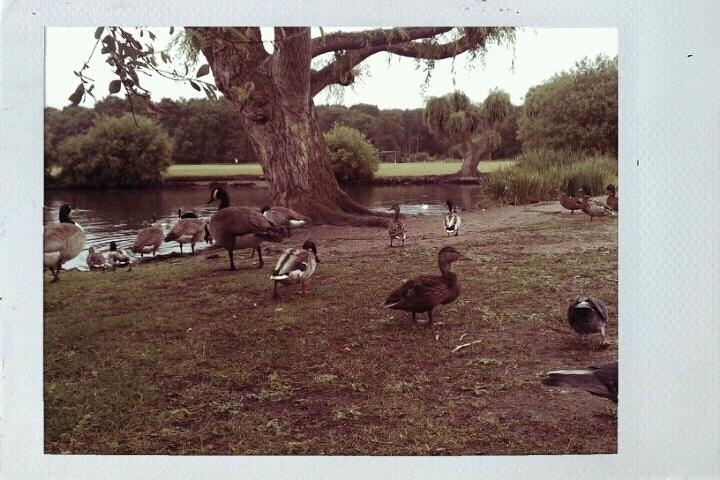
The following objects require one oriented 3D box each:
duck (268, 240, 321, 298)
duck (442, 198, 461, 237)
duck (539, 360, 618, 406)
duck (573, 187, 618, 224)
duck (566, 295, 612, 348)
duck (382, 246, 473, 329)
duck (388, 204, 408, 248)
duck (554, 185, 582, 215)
[{"bbox_3d":[-1.114,0.433,12.434,0.639,0.923,1.467,1,4,27],"label":"duck"},{"bbox_3d":[1.825,-0.443,14.425,0.371,0.664,0.920,-4,4,7],"label":"duck"},{"bbox_3d":[3.434,2.237,11.240,1.100,0.609,0.211,-5,5,-2],"label":"duck"},{"bbox_3d":[4.769,-0.712,14.631,0.742,0.601,0.376,3,15,8],"label":"duck"},{"bbox_3d":[3.660,1.341,11.559,0.404,1.025,0.627,-3,48,27],"label":"duck"},{"bbox_3d":[1.056,0.762,11.649,1.381,1.267,0.673,-3,7,3],"label":"duck"},{"bbox_3d":[0.708,-0.307,14.234,0.353,0.759,1.122,-5,4,3],"label":"duck"},{"bbox_3d":[4.291,-0.849,15.397,0.734,0.562,0.343,8,-1,-7],"label":"duck"}]
